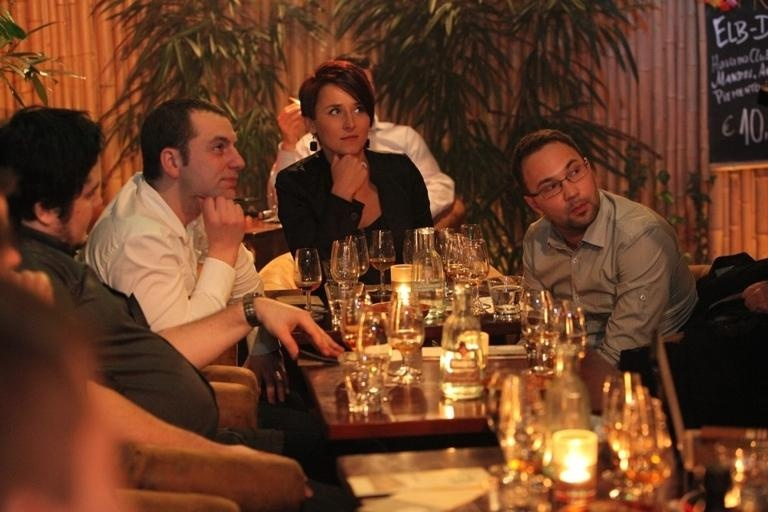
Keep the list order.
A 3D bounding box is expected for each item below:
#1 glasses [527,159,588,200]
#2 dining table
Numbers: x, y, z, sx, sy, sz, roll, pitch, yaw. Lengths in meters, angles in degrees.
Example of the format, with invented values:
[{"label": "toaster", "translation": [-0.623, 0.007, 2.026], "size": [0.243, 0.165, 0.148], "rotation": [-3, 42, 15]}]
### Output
[{"label": "glasses", "translation": [0.748, -0.325, 2.931], "size": [0.258, 0.151, 0.115], "rotation": [-4, -2, 13]}, {"label": "dining table", "translation": [0.027, 0.492, 2.366], "size": [0.725, 0.409, 1.104], "rotation": [-3, -2, -23]}]
